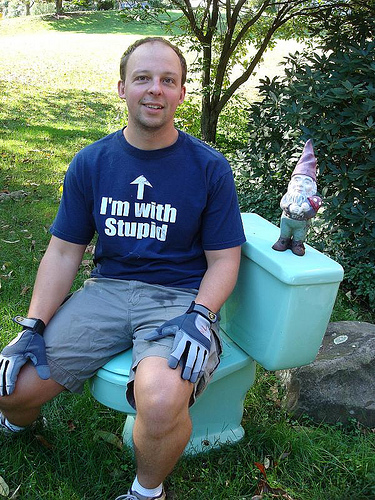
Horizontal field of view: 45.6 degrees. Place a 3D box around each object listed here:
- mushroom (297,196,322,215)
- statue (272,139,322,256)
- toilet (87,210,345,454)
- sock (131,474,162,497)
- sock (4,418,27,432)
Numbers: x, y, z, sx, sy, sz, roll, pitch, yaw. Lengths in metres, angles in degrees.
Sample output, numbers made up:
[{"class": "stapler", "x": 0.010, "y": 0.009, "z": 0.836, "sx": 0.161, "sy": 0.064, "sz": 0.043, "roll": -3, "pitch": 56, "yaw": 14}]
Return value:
[{"class": "mushroom", "x": 0.460, "y": -0.170, "z": 1.688, "sx": 0.081, "sy": 0.064, "sz": 0.029, "roll": -10, "pitch": 17, "yaw": -39}, {"class": "statue", "x": 0.444, "y": -0.199, "z": 1.739, "sx": 0.190, "sy": 0.429, "sz": 0.168, "roll": -6, "pitch": 22, "yaw": -18}, {"class": "toilet", "x": 0.047, "y": 0.463, "z": 1.906, "sx": 0.827, "sy": 0.678, "sz": 0.564, "roll": -5, "pitch": 18, "yaw": -33}, {"class": "sock", "x": -0.135, "y": 0.791, "z": 1.538, "sx": 0.094, "sy": 0.084, "sz": 0.056, "roll": 14, "pitch": 34, "yaw": 37}, {"class": "sock", "x": -0.683, "y": 0.694, "z": 1.769, "sx": 0.060, "sy": 0.036, "sz": 0.078, "roll": 28, "pitch": -37, "yaw": -36}]
